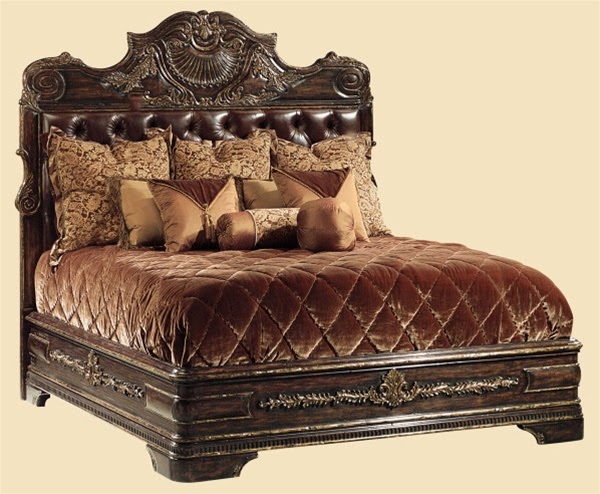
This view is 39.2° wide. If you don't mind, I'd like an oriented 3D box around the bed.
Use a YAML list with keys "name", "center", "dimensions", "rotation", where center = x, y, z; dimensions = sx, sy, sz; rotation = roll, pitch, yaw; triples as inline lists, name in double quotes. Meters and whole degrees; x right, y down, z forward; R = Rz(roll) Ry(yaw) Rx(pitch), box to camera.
- name: "bed"
  center: [-0.123, -0.224, 5.069]
  dimensions: [2.633, 2.800, 2.271]
  rotation: [-3, -80, -21]
